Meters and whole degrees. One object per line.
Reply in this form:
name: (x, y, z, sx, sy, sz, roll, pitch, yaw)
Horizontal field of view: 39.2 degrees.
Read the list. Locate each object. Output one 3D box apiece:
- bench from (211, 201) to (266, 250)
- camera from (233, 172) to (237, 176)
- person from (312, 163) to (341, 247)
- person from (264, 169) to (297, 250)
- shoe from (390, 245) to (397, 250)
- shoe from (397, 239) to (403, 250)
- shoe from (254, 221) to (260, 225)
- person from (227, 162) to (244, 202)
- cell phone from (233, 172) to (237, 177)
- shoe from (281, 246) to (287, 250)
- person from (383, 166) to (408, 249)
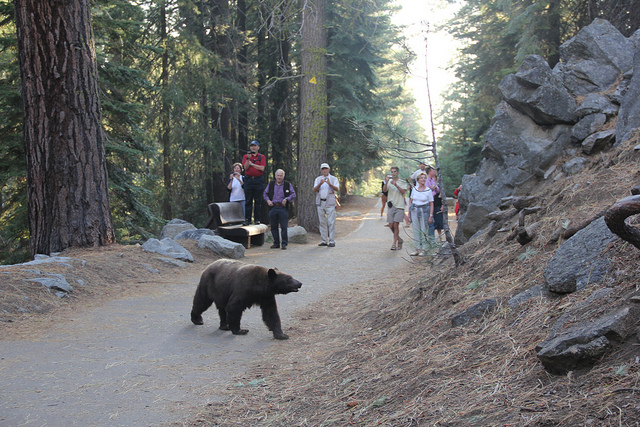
bench: (-2.714, 0.396, 30.339, 1.373, 1.422, 2.365, 5, 4, 12)
camera: (-2.911, -1.354, 30.548, 0.059, 0.107, 0.284, -3, 2, -26)
person: (0.217, -0.285, 30.756, 0.852, 2.878, 1.012, -2, 2, -1)
person: (-1.359, -0.135, 29.901, 0.977, 2.667, 1.140, -2, 2, -2)
shoe: (2.455, 1.146, 30.036, 0.143, 0.139, 0.374, -2, -6, 24)
shoe: (2.716, 1.030, 30.120, 0.136, 0.315, 0.112, 23, -10, -12)
shoe: (-2.174, 0.327, 30.872, 0.140, 0.078, 0.132, -17, -3, 10)
person: (-2.885, -1.081, 30.681, 0.523, 1.344, 1.050, -2, 2, -6)
cell phone: (-2.921, -1.332, 30.521, 0.103, 0.149, 0.232, -3, 2, -19)
shoe: (-1.241, 1.153, 30.017, 0.209, 0.134, 0.067, -1, 10, 21)
person: (2.483, -0.174, 29.653, 0.716, 2.731, 1.225, -2, 2, 3)
